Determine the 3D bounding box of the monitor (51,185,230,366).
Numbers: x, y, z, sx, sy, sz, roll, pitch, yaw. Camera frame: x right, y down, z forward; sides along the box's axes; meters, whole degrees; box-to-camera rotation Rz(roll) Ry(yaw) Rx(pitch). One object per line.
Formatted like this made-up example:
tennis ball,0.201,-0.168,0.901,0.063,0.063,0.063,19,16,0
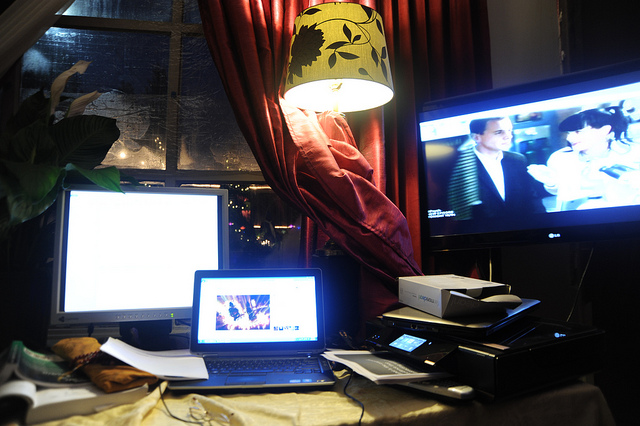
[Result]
monitor,-0.740,0.185,2.121,0.690,0.654,0.302,3,1,-29

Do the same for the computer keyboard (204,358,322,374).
computer keyboard,-0.217,0.573,1.973,0.435,0.051,0.099,-2,0,-1

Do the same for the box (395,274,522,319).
box,0.496,0.295,2.010,0.319,0.147,0.411,2,-4,-27

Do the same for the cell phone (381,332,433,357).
cell phone,0.318,0.475,1.934,0.085,0.081,0.161,-2,0,-40

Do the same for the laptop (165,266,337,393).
laptop,-0.245,0.417,1.925,0.542,0.315,0.413,0,11,3

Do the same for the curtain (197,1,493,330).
curtain,0.098,-0.188,2.381,1.712,2.016,0.202,0,-2,-6

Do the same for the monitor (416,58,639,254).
monitor,0.916,-0.213,2.291,1.019,0.674,0.045,-4,-3,27
